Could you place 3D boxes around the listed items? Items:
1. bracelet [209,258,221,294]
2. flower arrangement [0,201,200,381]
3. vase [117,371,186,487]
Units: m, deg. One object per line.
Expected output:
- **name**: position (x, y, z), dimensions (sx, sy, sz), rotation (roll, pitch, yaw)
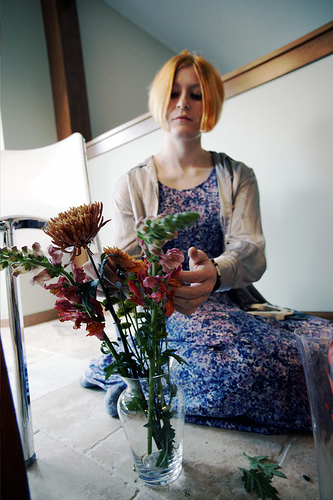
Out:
- **bracelet**: position (0.104, 0.051, 0.873), dimensions (0.017, 0.058, 0.061), rotation (-2, 32, -14)
- **flower arrangement**: position (-0.047, 0.072, 0.654), dimensions (0.339, 0.276, 0.315), rotation (-5, 1, 26)
- **vase**: position (-0.056, 0.325, 0.675), dimensions (0.140, 0.160, 0.134), rotation (-2, -30, -13)
